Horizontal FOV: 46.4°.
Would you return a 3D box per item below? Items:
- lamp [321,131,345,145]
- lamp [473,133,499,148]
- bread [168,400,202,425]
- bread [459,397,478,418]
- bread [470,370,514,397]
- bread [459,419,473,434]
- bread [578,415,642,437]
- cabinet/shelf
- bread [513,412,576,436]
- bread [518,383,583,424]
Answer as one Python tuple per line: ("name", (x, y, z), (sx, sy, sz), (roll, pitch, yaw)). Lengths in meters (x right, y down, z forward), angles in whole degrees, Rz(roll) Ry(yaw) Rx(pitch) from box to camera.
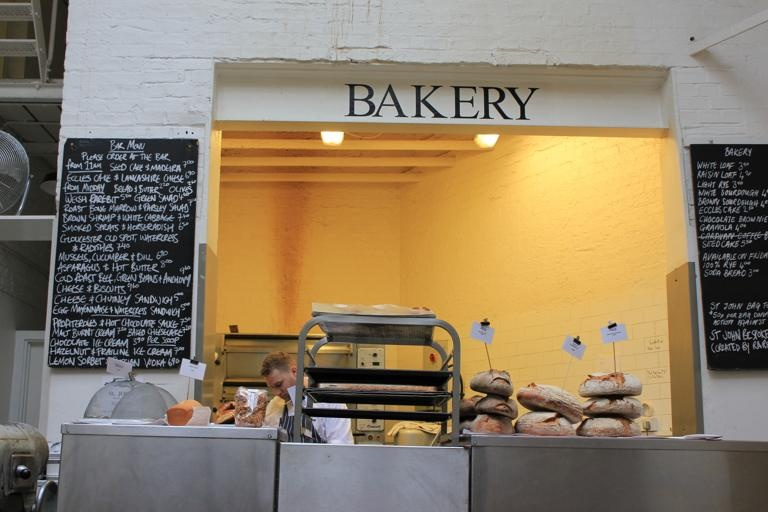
("lamp", (-0.488, -1.157, 8.674), (0.195, 0.127, 0.161), (14, -24, -42))
("lamp", (1.021, -1.141, 8.891), (0.215, 0.183, 0.196), (-1, -11, 5))
("bread", (-1.244, 0.970, 5.575), (0.202, 0.152, 0.289), (3, -10, -12))
("bread", (0.554, 0.978, 5.800), (0.106, 0.048, 0.135), (-6, 16, 26))
("bread", (0.690, 0.807, 5.710), (0.253, 0.180, 0.203), (-2, -11, 11))
("bread", (0.532, 1.082, 5.716), (0.061, 0.056, 0.070), (-2, 3, 2))
("bread", (1.405, 1.057, 5.591), (0.381, 0.111, 0.098), (-1, -11, 5))
("cabinet/shelf", (-0.007, 0.737, 5.814), (0.872, 0.598, 0.894), (4, 3, -3))
("bread", (0.996, 1.030, 5.522), (0.362, 0.147, 0.232), (-1, -10, 6))
("bread", (1.031, 0.896, 5.587), (0.336, 0.117, 0.293), (1, -15, 44))
